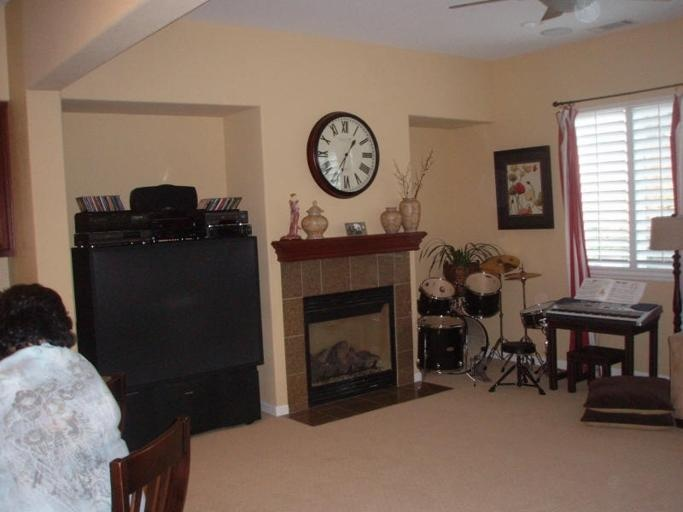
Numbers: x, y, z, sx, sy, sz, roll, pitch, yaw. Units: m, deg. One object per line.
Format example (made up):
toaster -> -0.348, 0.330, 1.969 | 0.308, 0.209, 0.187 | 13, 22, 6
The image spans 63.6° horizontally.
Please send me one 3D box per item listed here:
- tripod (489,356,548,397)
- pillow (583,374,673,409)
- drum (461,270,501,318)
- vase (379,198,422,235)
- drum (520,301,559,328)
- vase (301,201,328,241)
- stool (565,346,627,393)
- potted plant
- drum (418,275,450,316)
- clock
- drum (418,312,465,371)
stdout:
tripod -> 1.817, 1.120, 5.710 | 0.521, 0.396, 0.932 | -1, 7, 17
pillow -> 2.326, 1.108, 4.423 | 0.352, 0.118, 0.386 | -3, 1, 20
drum -> 1.462, 0.384, 5.783 | 0.411, 0.449, 0.414 | 12, 23, 41
vase -> 0.625, -0.379, 5.509 | 0.546, 0.454, 0.301 | -1, -1, -37
drum -> 1.999, 0.595, 5.579 | 0.286, 0.120, 0.264 | -18, -7, -2
vase -> -0.242, -0.315, 4.968 | 0.289, 0.393, 0.290 | -6, 10, -42
stool -> 2.448, 1.005, 5.268 | 0.449, 0.470, 0.446 | -8, 9, -44
potted plant -> 1.419, 0.115, 6.595 | 0.622, 0.467, 0.643 | -1, 2, -23
drum -> 0.938, 0.448, 5.630 | 0.332, 0.288, 0.346 | 17, 26, 19
clock -> -0.017, -0.960, 5.243 | 0.784, 0.838, 0.108 | -2, -1, -37
drum -> 1.004, 0.877, 5.649 | 0.476, 0.536, 0.503 | 0, 1, 2
